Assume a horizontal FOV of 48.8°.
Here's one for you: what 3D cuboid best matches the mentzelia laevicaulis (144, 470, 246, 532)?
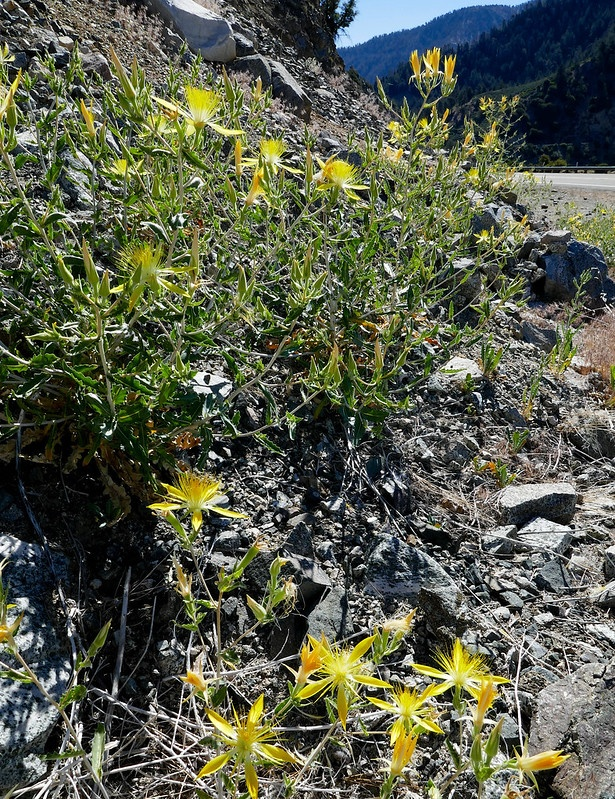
[{"bbox_3d":[-0.357,0.316,2.098,0.223,0.088,0.224,21,22,17],"label":"mentzelia laevicaulis"}]
